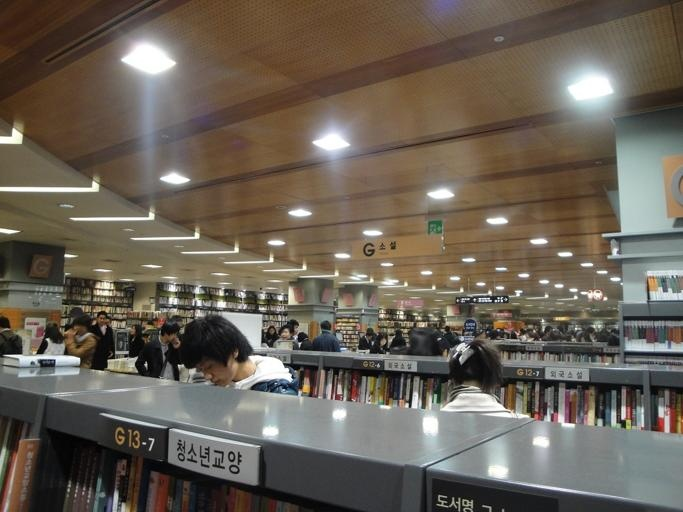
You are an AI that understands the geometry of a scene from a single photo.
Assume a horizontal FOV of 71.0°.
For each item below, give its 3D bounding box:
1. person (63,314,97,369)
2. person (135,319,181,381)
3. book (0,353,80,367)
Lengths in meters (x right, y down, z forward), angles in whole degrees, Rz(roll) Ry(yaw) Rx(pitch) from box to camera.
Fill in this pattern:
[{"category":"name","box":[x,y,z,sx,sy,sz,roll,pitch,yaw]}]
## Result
[{"category":"person","box":[-3.515,1.158,6.497,0.355,0.704,0.530,6,-10,-27]},{"category":"person","box":[-2.354,1.217,6.144,0.430,0.710,1.456,5,-10,-25]},{"category":"book","box":[-1.574,0.552,2.485,0.350,0.064,0.246,4,-10,-20]}]
